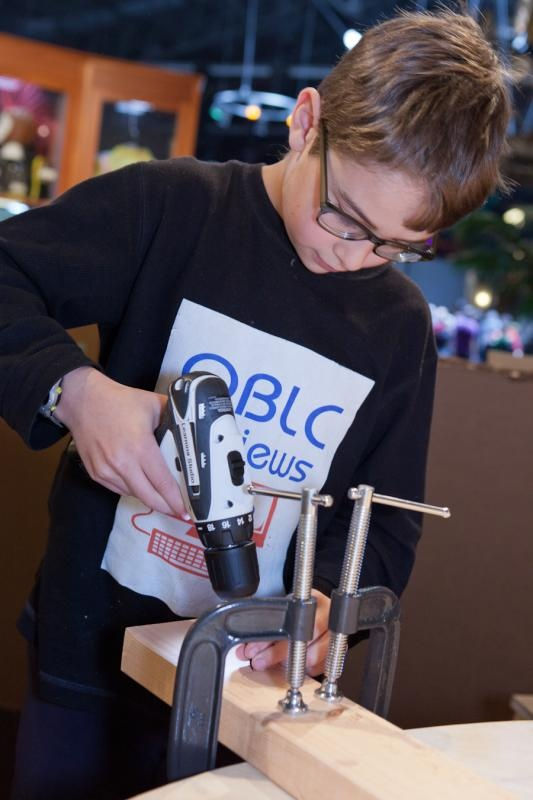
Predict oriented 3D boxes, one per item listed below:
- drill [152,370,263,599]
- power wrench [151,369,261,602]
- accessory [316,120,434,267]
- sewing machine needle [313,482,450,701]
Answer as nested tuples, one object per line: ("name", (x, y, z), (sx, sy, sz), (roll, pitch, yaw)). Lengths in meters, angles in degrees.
("drill", (-0.060, 0.095, 0.815), (0.074, 0.261, 0.104), (-11, 2, -10))
("power wrench", (-0.058, 0.075, 0.814), (0.078, 0.275, 0.109), (-10, -5, -24))
("accessory", (0.136, -0.233, 0.851), (0.153, 0.168, 0.106), (3, 33, 4))
("sewing machine needle", (0.105, 0.217, 0.769), (0.112, 0.283, 0.109), (-3, 14, -30))
